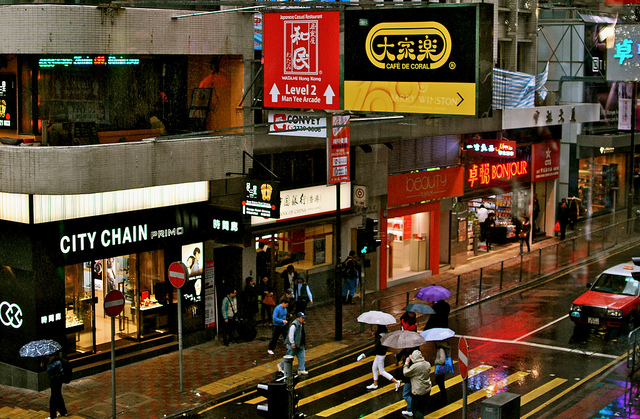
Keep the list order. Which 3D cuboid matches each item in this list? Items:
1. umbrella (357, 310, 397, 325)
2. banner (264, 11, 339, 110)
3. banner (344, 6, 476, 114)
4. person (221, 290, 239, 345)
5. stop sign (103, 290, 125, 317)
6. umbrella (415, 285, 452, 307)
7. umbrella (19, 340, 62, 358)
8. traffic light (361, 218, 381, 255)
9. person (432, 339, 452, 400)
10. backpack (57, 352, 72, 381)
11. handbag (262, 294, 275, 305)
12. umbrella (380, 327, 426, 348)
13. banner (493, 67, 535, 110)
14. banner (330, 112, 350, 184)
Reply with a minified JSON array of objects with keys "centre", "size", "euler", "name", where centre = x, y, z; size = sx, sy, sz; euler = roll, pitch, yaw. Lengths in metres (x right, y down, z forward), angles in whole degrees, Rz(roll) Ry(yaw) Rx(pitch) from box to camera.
[{"centre":[1.930,3.619,31.222],"size":[1.221,0.394,0.772],"euler":[-3,8,8],"name":"umbrella"},{"centre":[-0.486,-4.953,29.988],"size":[3.170,3.079,0.115],"euler":[2,7,32],"name":"banner"},{"centre":[2.885,-4.571,27.873],"size":[3.310,2.479,0.050],"euler":[3,6,27],"name":"banner"},{"centre":[-3.338,3.919,34.290],"size":[0.683,2.038,0.652],"euler":[-8,8,-22],"name":"person"},{"centre":[-6.311,2.833,28.489],"size":[0.291,0.785,0.684],"euler":[1,10,36],"name":"stop sign"},{"centre":[4.185,3.035,33.807],"size":[0.747,0.552,0.790],"euler":[-2,11,-3],"name":"umbrella"},{"centre":[-8.674,4.285,28.873],"size":[1.205,0.402,0.768],"euler":[-7,8,-18],"name":"umbrella"},{"centre":[1.897,0.940,34.821],"size":[0.754,1.322,0.904],"euler":[-4,8,3],"name":"traffic light"},{"centre":[3.999,5.021,30.058],"size":[0.536,2.074,1.457],"euler":[-4,8,7],"name":"person"},{"centre":[-7.961,4.839,28.959],"size":[0.366,0.890,0.374],"euler":[-7,8,-18],"name":"backpack"},{"centre":[-1.956,3.369,35.340],"size":[0.340,0.362,0.175],"euler":[17,28,-1],"name":"handbag"},{"centre":[2.625,4.088,29.184],"size":[1.380,0.496,0.806],"euler":[-4,8,5],"name":"umbrella"},{"centre":[9.046,-5.655,43.050],"size":[1.017,1.932,3.128],"euler":[2,10,39],"name":"banner"},{"centre":[0.740,-2.067,34.496],"size":[0.349,2.022,1.297],"euler":[0,9,31],"name":"banner"}]
